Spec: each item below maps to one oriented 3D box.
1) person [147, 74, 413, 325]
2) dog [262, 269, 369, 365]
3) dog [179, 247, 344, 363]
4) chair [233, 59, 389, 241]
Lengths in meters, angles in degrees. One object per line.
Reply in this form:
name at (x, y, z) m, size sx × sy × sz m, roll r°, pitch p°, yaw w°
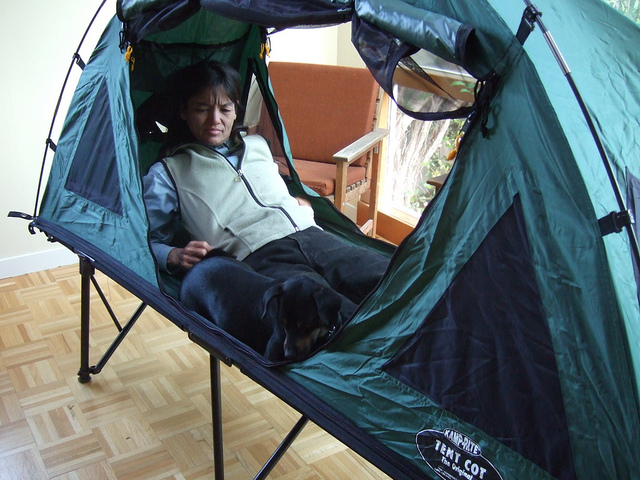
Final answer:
person at (-0.239, -0.076, 2.120) m, size 0.583 × 0.639 × 1.134 m, roll -36°, pitch 45°, yaw -22°
dog at (-0.030, 0.215, 1.551) m, size 0.282 × 0.148 × 0.218 m, roll 8°, pitch 35°, yaw -5°
dog at (-0.179, 0.176, 1.640) m, size 0.447 × 0.230 × 0.260 m, roll 17°, pitch 37°, yaw 27°
chair at (-0.108, -0.427, 3.147) m, size 0.869 × 1.166 × 0.810 m, roll 12°, pitch 21°, yaw 25°
